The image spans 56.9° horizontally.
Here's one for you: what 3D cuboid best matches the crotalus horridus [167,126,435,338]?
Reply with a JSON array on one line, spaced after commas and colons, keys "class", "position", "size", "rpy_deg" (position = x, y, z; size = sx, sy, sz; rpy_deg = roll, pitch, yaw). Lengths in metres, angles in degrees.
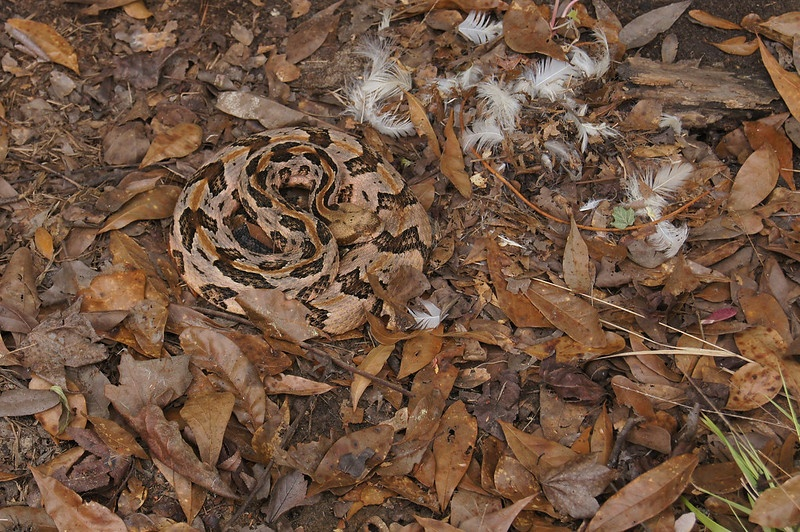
[{"class": "crotalus horridus", "position": [-1.086, -0.280, 7.717], "size": [2.360, 4.178, 1.947], "rpy_deg": [3, 93, -27]}]
